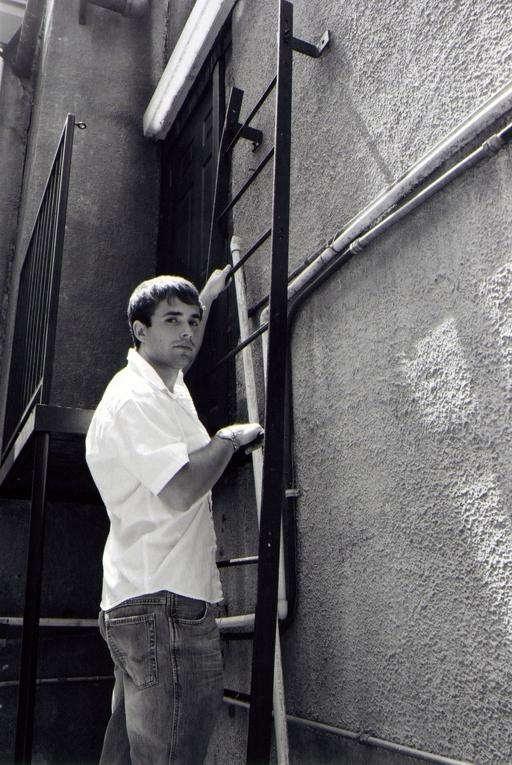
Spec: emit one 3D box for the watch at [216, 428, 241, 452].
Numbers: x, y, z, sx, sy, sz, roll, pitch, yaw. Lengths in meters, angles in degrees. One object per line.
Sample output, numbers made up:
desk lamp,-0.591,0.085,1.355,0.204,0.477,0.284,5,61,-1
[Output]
watch,-0.061,0.117,1.609,0.033,0.024,0.059,7,-54,46
